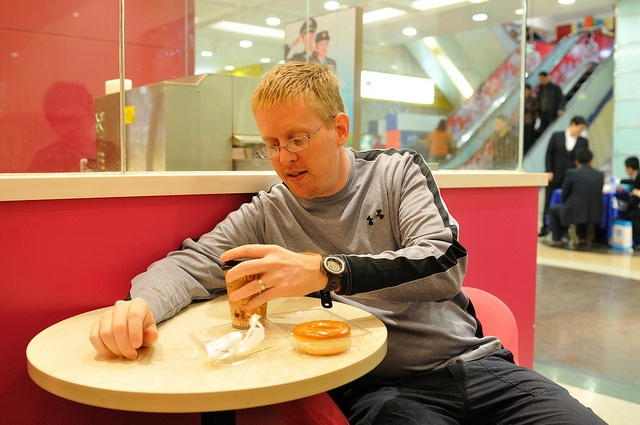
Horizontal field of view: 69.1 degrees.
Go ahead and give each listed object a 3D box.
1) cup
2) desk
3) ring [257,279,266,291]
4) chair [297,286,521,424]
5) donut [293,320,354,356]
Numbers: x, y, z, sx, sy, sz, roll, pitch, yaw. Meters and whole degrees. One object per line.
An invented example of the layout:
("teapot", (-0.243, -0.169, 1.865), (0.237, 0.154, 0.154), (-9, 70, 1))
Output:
("cup", (-0.230, 0.246, 1.481), (0.205, 0.247, 0.193), (-3, 1, 0))
("desk", (4.450, 0.093, 7.853), (1.313, 0.697, 1.275), (13, -8, -1))
("ring", (-0.172, 0.210, 1.365), (0.012, 0.031, 0.023), (-26, 10, -29))
("chair", (0.520, 0.539, 1.901), (0.504, 0.419, 0.475), (-5, -17, -24))
("donut", (0.005, 0.362, 1.360), (0.169, 0.052, 0.165), (-3, 5, -33))
